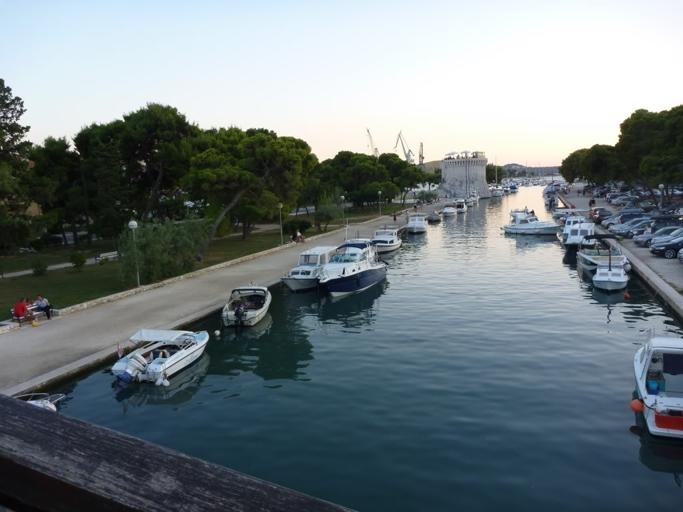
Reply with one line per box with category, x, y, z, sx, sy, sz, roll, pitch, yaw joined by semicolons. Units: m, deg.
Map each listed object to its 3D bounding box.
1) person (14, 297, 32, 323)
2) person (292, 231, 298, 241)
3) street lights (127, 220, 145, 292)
person;-15.502;2.643;26.005;0.342;0.409;1.007;7;13;-12
person;-4.827;-1.982;53.959;0.697;1.408;0.564;3;-34;-4
street lights;-12.549;-0.211;32.829;0.797;3.927;0.746;-5;0;-20
